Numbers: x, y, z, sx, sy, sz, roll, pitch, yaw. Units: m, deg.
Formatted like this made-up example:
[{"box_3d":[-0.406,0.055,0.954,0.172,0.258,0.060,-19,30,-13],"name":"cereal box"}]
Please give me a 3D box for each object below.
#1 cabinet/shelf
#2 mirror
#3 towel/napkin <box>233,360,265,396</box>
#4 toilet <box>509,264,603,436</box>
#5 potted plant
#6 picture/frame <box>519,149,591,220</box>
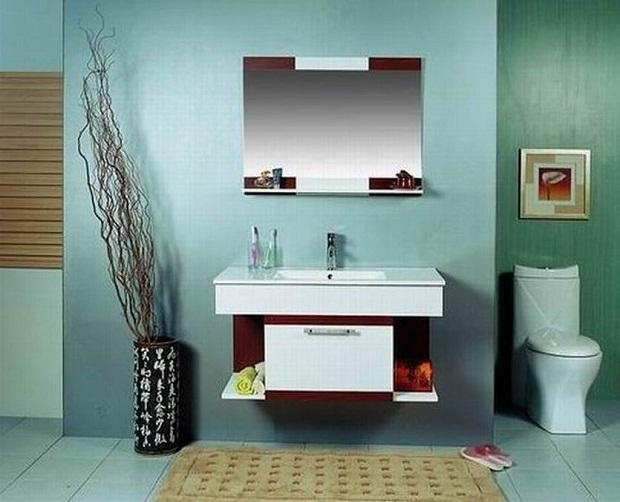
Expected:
[{"box_3d":[0.107,0.491,3.446,1.257,0.656,0.524,1,0,3],"name":"cabinet/shelf"},{"box_3d":[0.169,-0.768,3.555,0.740,0.607,0.083,0,2,2],"name":"mirror"},{"box_3d":[-0.337,0.720,3.424,0.135,0.077,0.182,-2,3,-17],"name":"towel/napkin"},{"box_3d":[1.624,0.645,4.021,0.493,0.986,0.659,3,12,12],"name":"toilet"},{"box_3d":[-1.062,-0.122,3.572,0.429,2.526,0.835,-7,14,-30],"name":"potted plant"},{"box_3d":[1.767,-0.491,4.308,0.458,0.509,0.032,0,3,4],"name":"picture/frame"}]
